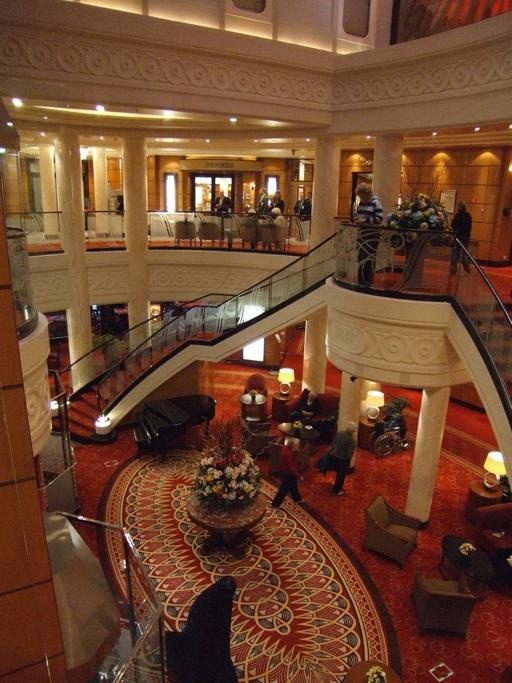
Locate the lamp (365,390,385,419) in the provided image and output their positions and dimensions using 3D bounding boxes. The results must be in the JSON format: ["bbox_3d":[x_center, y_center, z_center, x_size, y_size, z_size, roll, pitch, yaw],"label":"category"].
[{"bbox_3d":[2.540,1.368,10.529,0.407,0.525,0.610,4,14,14],"label":"lamp"}]

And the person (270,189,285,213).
[{"bbox_3d":[0.593,-4.102,14.284,0.345,0.632,0.814,1,13,1],"label":"person"}]

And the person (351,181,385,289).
[{"bbox_3d":[1.504,-1.451,6.609,0.367,1.341,0.818,3,14,12],"label":"person"}]

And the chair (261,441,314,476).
[{"bbox_3d":[0.533,2.101,8.799,0.583,0.802,0.648,13,46,16],"label":"chair"}]

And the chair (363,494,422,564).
[{"bbox_3d":[1.968,2.675,7.006,0.783,0.732,0.771,-6,13,-11],"label":"chair"}]

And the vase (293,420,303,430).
[{"bbox_3d":[0.809,1.634,9.569,0.137,0.078,0.186,7,22,6],"label":"vase"}]

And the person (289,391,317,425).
[{"bbox_3d":[1.013,1.502,11.099,0.627,0.749,0.643,-12,22,-37],"label":"person"}]

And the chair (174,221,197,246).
[{"bbox_3d":[-1.995,-3.132,13.935,0.595,0.809,0.702,2,29,-1],"label":"chair"}]

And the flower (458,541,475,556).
[{"bbox_3d":[2.698,2.673,6.277,0.170,0.084,0.205,-3,10,5],"label":"flower"}]

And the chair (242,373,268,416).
[{"bbox_3d":[-0.033,1.350,11.838,0.587,0.893,0.858,5,26,7],"label":"chair"}]

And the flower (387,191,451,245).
[{"bbox_3d":[2.038,-1.550,6.250,0.732,0.712,0.604,2,3,13],"label":"flower"}]

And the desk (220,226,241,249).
[{"bbox_3d":[-0.804,-3.060,13.868,0.620,0.676,0.523,-7,38,-11],"label":"desk"}]

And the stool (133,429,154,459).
[{"bbox_3d":[-2.224,2.003,9.649,0.226,0.390,0.614,0,13,-9],"label":"stool"}]

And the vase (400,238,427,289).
[{"bbox_3d":[1.935,-0.973,5.990,0.250,0.642,0.129,5,14,17],"label":"vase"}]

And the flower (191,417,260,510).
[{"bbox_3d":[-0.428,1.790,7.210,1.240,1.363,1.120,-1,9,-4],"label":"flower"}]

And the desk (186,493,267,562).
[{"bbox_3d":[-0.409,2.639,7.010,0.911,0.536,0.886,3,22,-2],"label":"desk"}]

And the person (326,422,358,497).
[{"bbox_3d":[1.466,1.950,8.351,0.456,1.343,0.398,25,22,39],"label":"person"}]

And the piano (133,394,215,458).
[{"bbox_3d":[-1.760,1.715,10.113,1.823,0.807,1.393,-18,27,-41],"label":"piano"}]

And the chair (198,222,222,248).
[{"bbox_3d":[-1.335,-3.050,13.843,0.604,0.791,0.654,4,39,3],"label":"chair"}]
